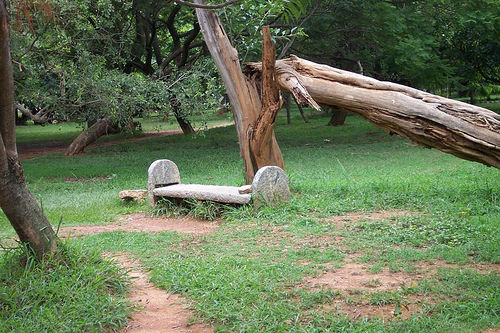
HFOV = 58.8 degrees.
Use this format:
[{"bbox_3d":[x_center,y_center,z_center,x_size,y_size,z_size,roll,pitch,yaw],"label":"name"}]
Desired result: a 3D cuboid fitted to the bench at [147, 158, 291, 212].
[{"bbox_3d":[-0.614,0.280,10.056,3.799,0.959,2.247,2,11,26],"label":"bench"}]
